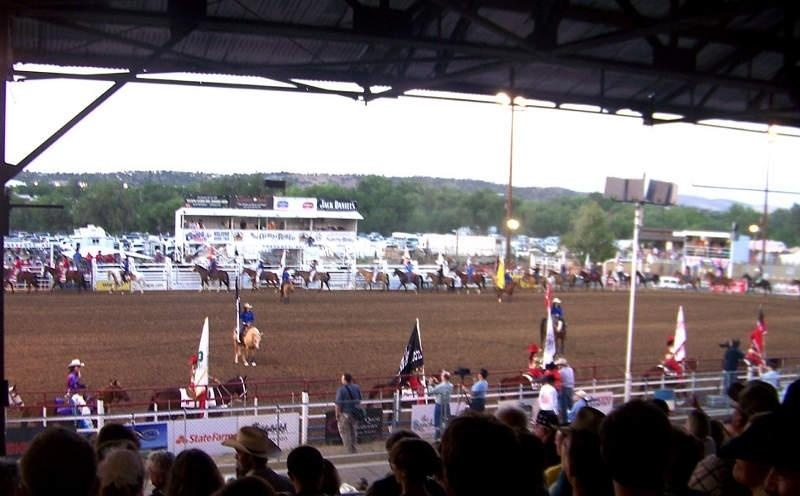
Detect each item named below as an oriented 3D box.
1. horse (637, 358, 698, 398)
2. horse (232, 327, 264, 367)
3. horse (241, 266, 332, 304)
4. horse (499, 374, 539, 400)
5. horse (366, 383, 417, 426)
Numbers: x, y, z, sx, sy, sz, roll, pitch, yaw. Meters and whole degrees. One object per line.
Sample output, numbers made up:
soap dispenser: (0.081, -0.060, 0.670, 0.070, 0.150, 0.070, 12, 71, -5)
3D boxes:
horse: (9.816, 4.922, 48.193, 0.945, 1.214, 2.244, -1, -2, 12)
horse: (-5.978, 3.846, 51.736, 0.793, 1.450, 2.813, 4, -4, -25)
horse: (-5.668, 2.299, 69.681, 5.908, 2.244, 2.712, 6, -1, -25)
horse: (4.334, 5.029, 47.042, 1.436, 0.770, 1.124, -1, -2, -6)
horse: (-0.166, 5.550, 46.184, 1.733, 1.400, 1.964, -1, -2, -7)
